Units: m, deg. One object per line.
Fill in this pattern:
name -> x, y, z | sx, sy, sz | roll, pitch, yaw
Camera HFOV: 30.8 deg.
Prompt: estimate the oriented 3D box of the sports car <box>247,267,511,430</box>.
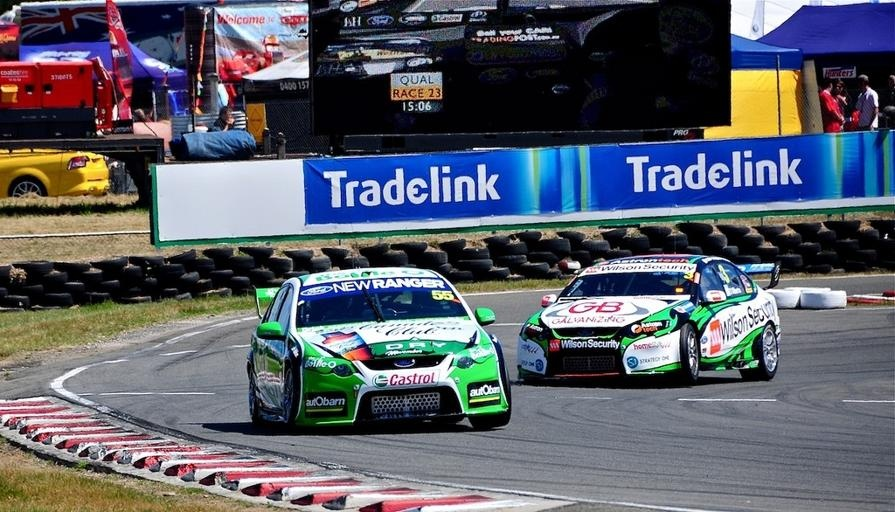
sports car -> -1.514, 2.058, 34.358 | 5.237, 3.175, 2.283 | -4, 9, -1
